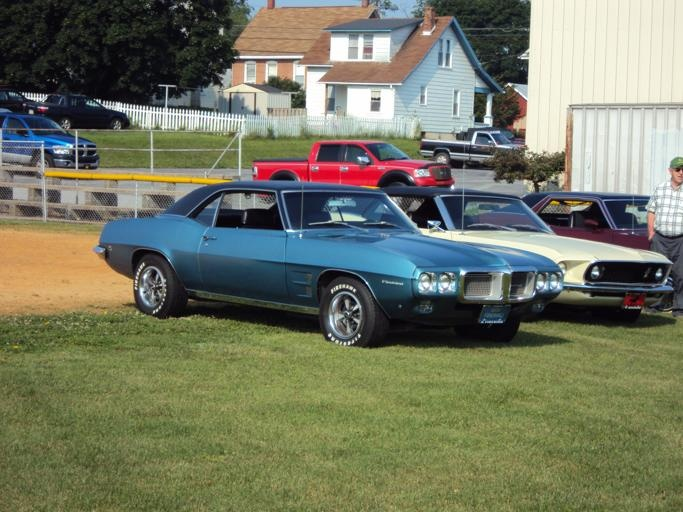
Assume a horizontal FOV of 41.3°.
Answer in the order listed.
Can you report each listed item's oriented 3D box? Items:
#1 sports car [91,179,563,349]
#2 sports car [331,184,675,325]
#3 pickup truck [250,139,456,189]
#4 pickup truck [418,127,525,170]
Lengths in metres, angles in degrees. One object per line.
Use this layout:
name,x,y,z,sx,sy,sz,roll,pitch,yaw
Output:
sports car,-0.258,0.029,10.420,4.834,1.663,1.637,8,14,31
sports car,1.843,-0.187,12.955,2.282,1.454,5.212,-2,8,-43
pickup truck,0.013,-2.316,24.639,4.682,1.397,1.907,2,10,2
pickup truck,5.801,-4.557,39.634,4.308,1.471,1.839,5,3,18
